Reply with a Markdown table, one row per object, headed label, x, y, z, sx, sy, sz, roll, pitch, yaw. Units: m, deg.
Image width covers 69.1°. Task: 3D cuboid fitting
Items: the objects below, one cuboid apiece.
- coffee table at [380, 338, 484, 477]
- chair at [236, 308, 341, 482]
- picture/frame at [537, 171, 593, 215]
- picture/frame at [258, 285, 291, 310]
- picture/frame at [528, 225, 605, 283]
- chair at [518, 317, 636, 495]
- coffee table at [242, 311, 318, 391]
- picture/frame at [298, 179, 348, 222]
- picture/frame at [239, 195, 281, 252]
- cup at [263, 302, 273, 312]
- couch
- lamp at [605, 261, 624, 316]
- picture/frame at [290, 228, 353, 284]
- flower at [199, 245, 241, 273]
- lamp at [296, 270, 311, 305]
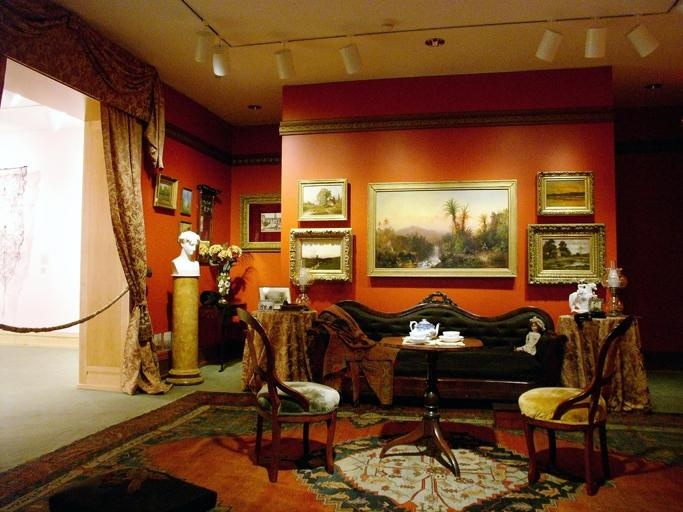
| label | x | y | z | sx | sy | sz | roll | pitch | yaw |
| --- | --- | --- | --- | --- | --- | --- | --- | --- | --- |
| coffee table | 0.842 | 1.312 | 4.618 | 0.926 | 1.076 | 0.892 | -1 | -4 | 30 |
| chair | -0.474 | 1.201 | 4.431 | 0.942 | 1.396 | 0.821 | 4 | -3 | -44 |
| picture/frame | 2.980 | -0.838 | 6.530 | 0.561 | 0.508 | 0.062 | 1 | -1 | 9 |
| picture/frame | -0.883 | 0.557 | 6.649 | 0.335 | 0.344 | 0.026 | 2 | -20 | -10 |
| picture/frame | 2.992 | -0.026 | 6.484 | 0.728 | 0.586 | 0.056 | 0 | -3 | 8 |
| chair | 1.983 | 1.231 | 4.262 | 0.760 | 1.399 | 0.883 | 0 | -1 | -37 |
| coffee table | -0.770 | 1.171 | 6.581 | 1.001 | 0.980 | 1.022 | -1 | -8 | -1 |
| picture/frame | -0.228 | -0.777 | 6.952 | 0.579 | 0.508 | 0.062 | 1 | 1 | 13 |
| picture/frame | -1.417 | -0.575 | 8.859 | 0.969 | 1.051 | 0.087 | -1 | -4 | 13 |
| cup | -0.974 | 0.658 | 6.544 | 0.097 | 0.098 | 0.073 | 1 | -19 | -7 |
| couch | 1.157 | 1.299 | 6.217 | 2.961 | 1.258 | 1.034 | -1 | 4 | 17 |
| lamp | 3.335 | 0.414 | 6.032 | 0.185 | 0.587 | 0.385 | 2 | 3 | 28 |
| picture/frame | -0.235 | -0.014 | 6.863 | 0.744 | 0.661 | 0.071 | 0 | -3 | 11 |
| flower | -2.000 | 0.005 | 8.166 | 0.593 | 0.487 | 0.571 | 1 | 3 | 4 |
| lamp | -0.484 | 0.417 | 6.595 | 0.170 | 0.471 | 0.392 | 0 | 3 | -5 |
